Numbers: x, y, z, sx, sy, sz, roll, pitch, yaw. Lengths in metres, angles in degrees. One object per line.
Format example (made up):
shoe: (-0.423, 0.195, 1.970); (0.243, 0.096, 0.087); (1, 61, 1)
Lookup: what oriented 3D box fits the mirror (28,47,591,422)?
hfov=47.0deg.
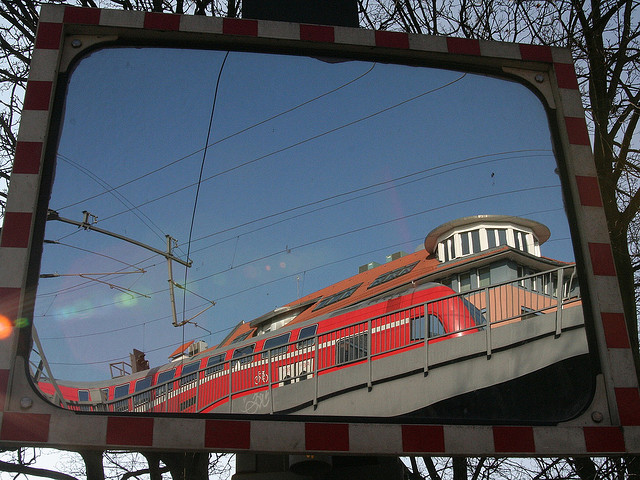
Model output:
mirror: (-0.016, 0.098, 6.103); (3.752, 3.160, 3.177); (-1, -19, -11)
